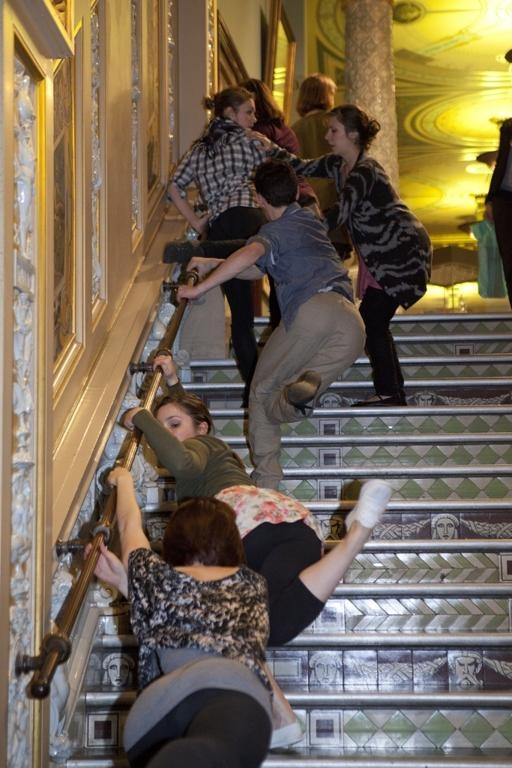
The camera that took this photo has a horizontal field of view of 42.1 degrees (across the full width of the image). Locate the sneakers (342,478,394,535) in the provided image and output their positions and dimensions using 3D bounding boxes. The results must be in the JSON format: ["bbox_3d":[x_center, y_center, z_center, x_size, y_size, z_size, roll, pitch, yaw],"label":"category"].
[{"bbox_3d":[0.248,0.262,1.520,0.059,0.161,0.066,26,11,4],"label":"sneakers"}]

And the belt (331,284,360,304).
[{"bbox_3d":[0.382,-0.385,2.852,0.067,0.026,0.087,29,1,13],"label":"belt"}]

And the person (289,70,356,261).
[{"bbox_3d":[0.552,-1.763,5.264,0.328,1.245,0.289,4,43,19],"label":"person"}]

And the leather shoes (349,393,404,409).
[{"bbox_3d":[0.629,0.094,3.420,0.257,0.066,0.092,4,-4,6],"label":"leather shoes"}]
